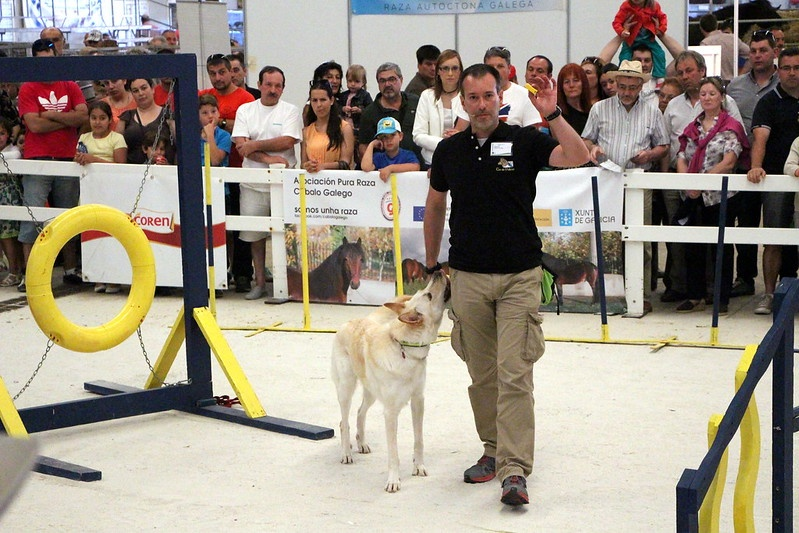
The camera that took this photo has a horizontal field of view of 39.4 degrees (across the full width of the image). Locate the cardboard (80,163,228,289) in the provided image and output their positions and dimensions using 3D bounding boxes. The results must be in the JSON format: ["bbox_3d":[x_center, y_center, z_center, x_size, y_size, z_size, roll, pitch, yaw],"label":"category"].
[{"bbox_3d":[-2.842,-0.532,13.208,1.535,1.207,0.149,2,5,11],"label":"cardboard"}]

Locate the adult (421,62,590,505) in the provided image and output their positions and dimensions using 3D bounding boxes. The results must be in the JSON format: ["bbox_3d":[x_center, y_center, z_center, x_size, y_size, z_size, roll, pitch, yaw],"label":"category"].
[{"bbox_3d":[0.886,0.094,9.801,0.790,3.652,1.192,-9,12,-42],"label":"adult"}]

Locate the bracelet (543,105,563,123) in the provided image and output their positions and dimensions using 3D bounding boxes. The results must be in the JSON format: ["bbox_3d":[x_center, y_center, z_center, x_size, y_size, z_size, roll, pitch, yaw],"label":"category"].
[{"bbox_3d":[1.334,-1.301,9.670,0.193,0.124,0.186,-24,-2,6],"label":"bracelet"}]

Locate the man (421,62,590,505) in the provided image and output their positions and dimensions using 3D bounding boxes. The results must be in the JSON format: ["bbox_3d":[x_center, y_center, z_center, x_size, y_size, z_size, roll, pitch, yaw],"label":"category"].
[{"bbox_3d":[0.885,0.094,9.802,0.792,3.652,1.196,-8,12,-42],"label":"man"}]

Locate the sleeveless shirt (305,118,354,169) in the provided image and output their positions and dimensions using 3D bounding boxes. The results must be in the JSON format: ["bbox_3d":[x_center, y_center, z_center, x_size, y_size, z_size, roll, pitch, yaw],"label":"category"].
[{"bbox_3d":[-0.974,-1.516,14.462,0.716,0.759,0.439,4,3,3],"label":"sleeveless shirt"}]

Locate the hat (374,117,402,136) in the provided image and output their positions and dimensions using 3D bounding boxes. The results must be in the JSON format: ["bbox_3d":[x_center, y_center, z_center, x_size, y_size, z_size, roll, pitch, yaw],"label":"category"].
[{"bbox_3d":[-0.133,-1.730,13.954,0.294,0.236,0.382,-1,10,-3],"label":"hat"}]
